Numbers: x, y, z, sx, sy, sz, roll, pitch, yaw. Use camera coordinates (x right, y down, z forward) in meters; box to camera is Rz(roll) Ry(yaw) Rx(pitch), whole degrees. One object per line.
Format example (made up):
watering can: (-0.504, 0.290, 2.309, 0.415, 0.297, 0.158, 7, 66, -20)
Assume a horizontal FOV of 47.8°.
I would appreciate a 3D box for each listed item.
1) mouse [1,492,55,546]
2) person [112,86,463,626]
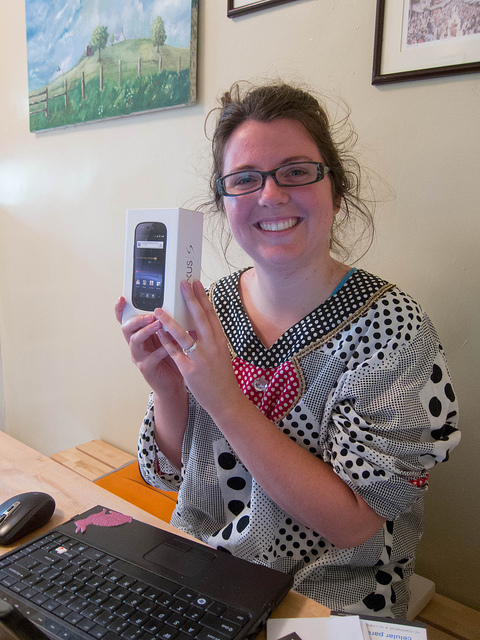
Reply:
mouse: (-0.275, 0.258, 0.709, 0.040, 0.024, 0.070, 8, 15, 32)
person: (0.092, 0.037, 0.940, 0.554, 0.869, 0.381, 5, 10, 12)
